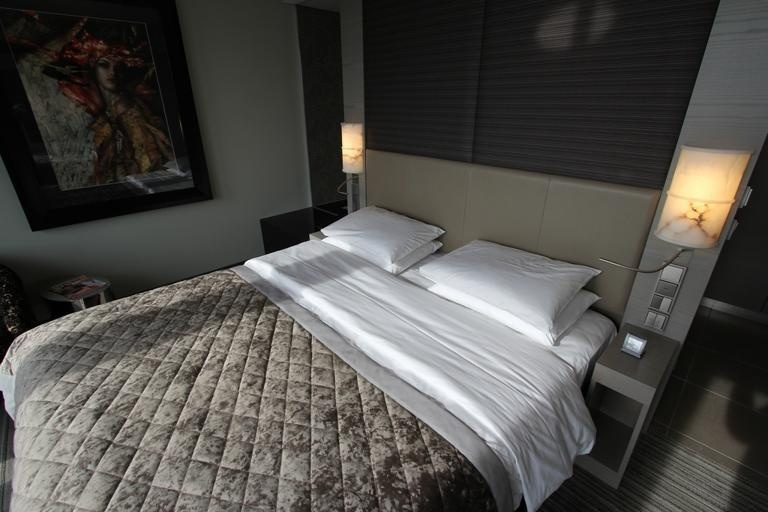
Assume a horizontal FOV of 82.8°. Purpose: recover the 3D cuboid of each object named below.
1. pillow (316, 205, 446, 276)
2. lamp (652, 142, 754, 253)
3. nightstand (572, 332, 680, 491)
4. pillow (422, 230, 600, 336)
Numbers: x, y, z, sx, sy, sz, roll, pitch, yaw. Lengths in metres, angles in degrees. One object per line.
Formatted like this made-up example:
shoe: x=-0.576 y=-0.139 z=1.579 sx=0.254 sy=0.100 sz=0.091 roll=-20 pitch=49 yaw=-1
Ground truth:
pillow: x=-0.089 y=-0.183 z=3.579 sx=0.757 sy=0.229 sz=0.565 roll=20 pitch=38 yaw=38
lamp: x=1.743 y=-0.334 z=2.445 sx=0.312 sy=0.538 sz=0.185 roll=18 pitch=28 yaw=26
nightstand: x=1.500 y=0.932 z=2.809 sx=0.346 sy=0.865 sz=0.602 roll=23 pitch=30 yaw=33
pillow: x=0.846 y=0.178 z=3.014 sx=0.934 sy=0.346 sz=0.584 roll=21 pitch=28 yaw=34
